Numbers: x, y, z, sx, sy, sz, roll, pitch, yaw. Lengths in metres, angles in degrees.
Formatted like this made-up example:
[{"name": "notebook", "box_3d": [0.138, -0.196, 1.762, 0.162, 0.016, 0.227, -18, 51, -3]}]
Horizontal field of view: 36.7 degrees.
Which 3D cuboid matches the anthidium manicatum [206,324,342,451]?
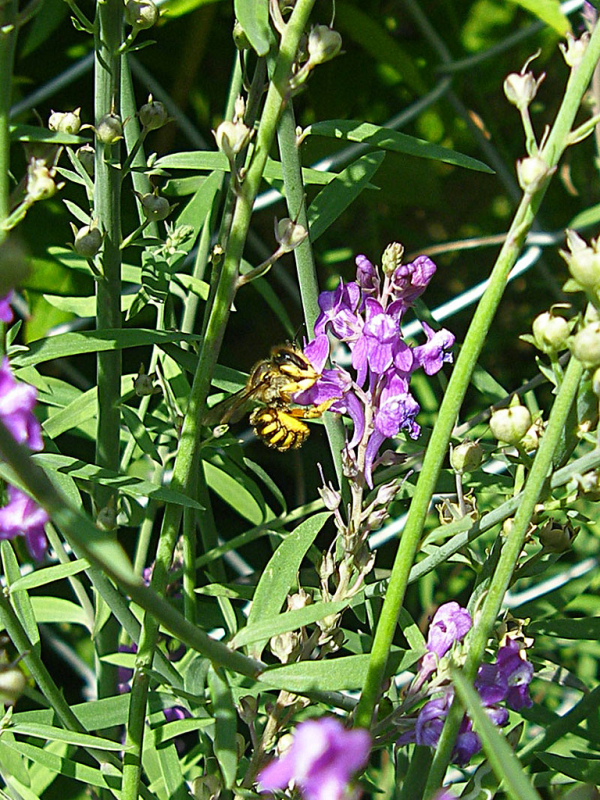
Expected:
[{"name": "anthidium manicatum", "box_3d": [-0.019, -0.004, 0.976, 0.117, 0.147, 0.071, 4, 58, -40]}]
